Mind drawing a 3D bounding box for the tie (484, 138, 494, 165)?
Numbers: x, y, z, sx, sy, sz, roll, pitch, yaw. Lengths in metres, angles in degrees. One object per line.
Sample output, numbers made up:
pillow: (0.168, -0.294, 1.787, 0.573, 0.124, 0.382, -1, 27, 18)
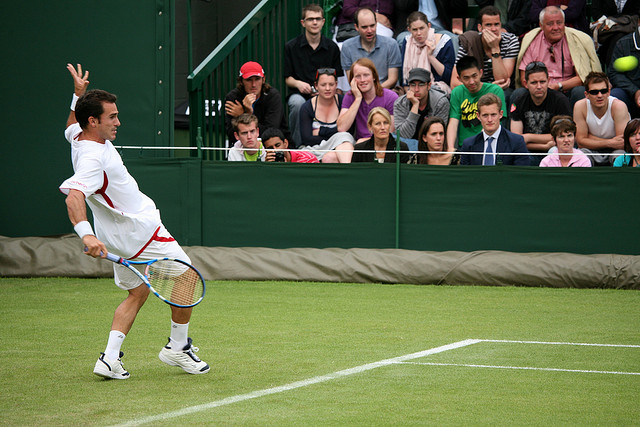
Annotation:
tie: (2.565, -0.910, 14.058, 0.142, 0.493, 0.076, 7, 0, 10)

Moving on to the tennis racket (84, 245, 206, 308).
tennis racket: (-1.826, 0.547, 9.480, 1.290, 0.070, 0.522, 21, 42, -20)

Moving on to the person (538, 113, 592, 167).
person: (3.696, -1.001, 13.921, 0.930, 0.925, 0.519, -2, -3, 16)

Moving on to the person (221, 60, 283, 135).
person: (-1.167, -1.854, 15.560, 0.944, 1.305, 0.771, -8, 12, -8)

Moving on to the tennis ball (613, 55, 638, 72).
tennis ball: (5.081, -2.499, 15.364, 0.269, 0.132, 0.271, -3, 2, 0)

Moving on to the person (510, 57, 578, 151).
person: (3.515, -1.713, 14.829, 1.079, 1.444, 0.982, -1, 17, 27)

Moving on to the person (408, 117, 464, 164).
person: (1.760, -1.056, 14.287, 1.116, 0.720, 0.473, 0, -3, -9)

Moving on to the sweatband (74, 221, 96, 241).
sweatband: (-2.372, 0.184, 9.300, 0.164, 0.176, 0.182, -36, -17, 14)
